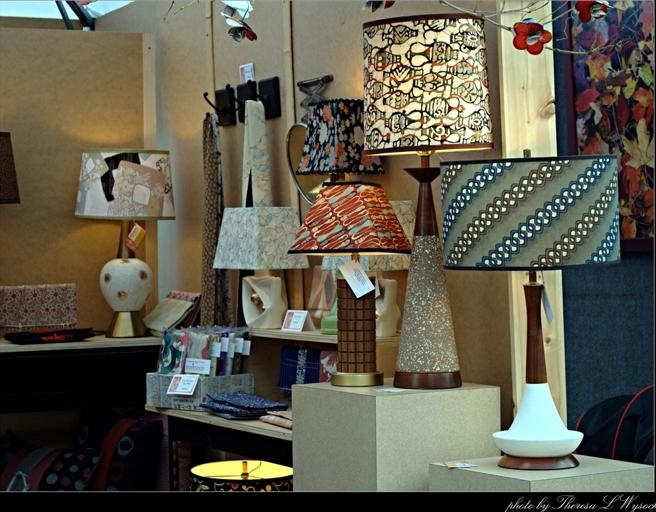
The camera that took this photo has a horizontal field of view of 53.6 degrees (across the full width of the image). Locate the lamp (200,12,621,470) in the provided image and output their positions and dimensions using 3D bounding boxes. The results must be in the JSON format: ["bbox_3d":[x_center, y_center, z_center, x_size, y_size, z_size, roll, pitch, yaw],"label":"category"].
[{"bbox_3d":[0.407,-0.101,1.925,0.411,1.347,0.760,1,-1,-33],"label":"lamp"}]

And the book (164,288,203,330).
[{"bbox_3d":[-0.792,0.300,3.653,0.193,0.201,0.063,8,-15,46],"label":"book"}]

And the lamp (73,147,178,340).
[{"bbox_3d":[-1.187,-0.076,3.806,0.544,1.089,0.241,0,-1,-22],"label":"lamp"}]
